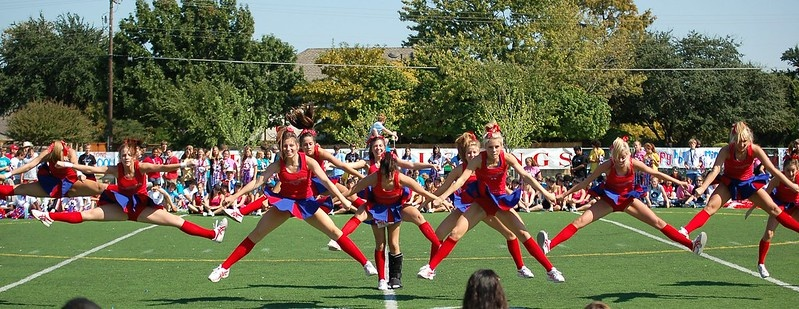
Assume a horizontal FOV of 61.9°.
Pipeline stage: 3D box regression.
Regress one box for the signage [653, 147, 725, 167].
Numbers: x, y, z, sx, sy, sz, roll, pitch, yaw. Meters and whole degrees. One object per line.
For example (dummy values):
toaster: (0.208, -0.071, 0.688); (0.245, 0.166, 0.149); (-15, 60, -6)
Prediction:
signage: (19.657, 0.135, 47.492); (6.439, 1.283, 1.496); (1, -1, 7)
